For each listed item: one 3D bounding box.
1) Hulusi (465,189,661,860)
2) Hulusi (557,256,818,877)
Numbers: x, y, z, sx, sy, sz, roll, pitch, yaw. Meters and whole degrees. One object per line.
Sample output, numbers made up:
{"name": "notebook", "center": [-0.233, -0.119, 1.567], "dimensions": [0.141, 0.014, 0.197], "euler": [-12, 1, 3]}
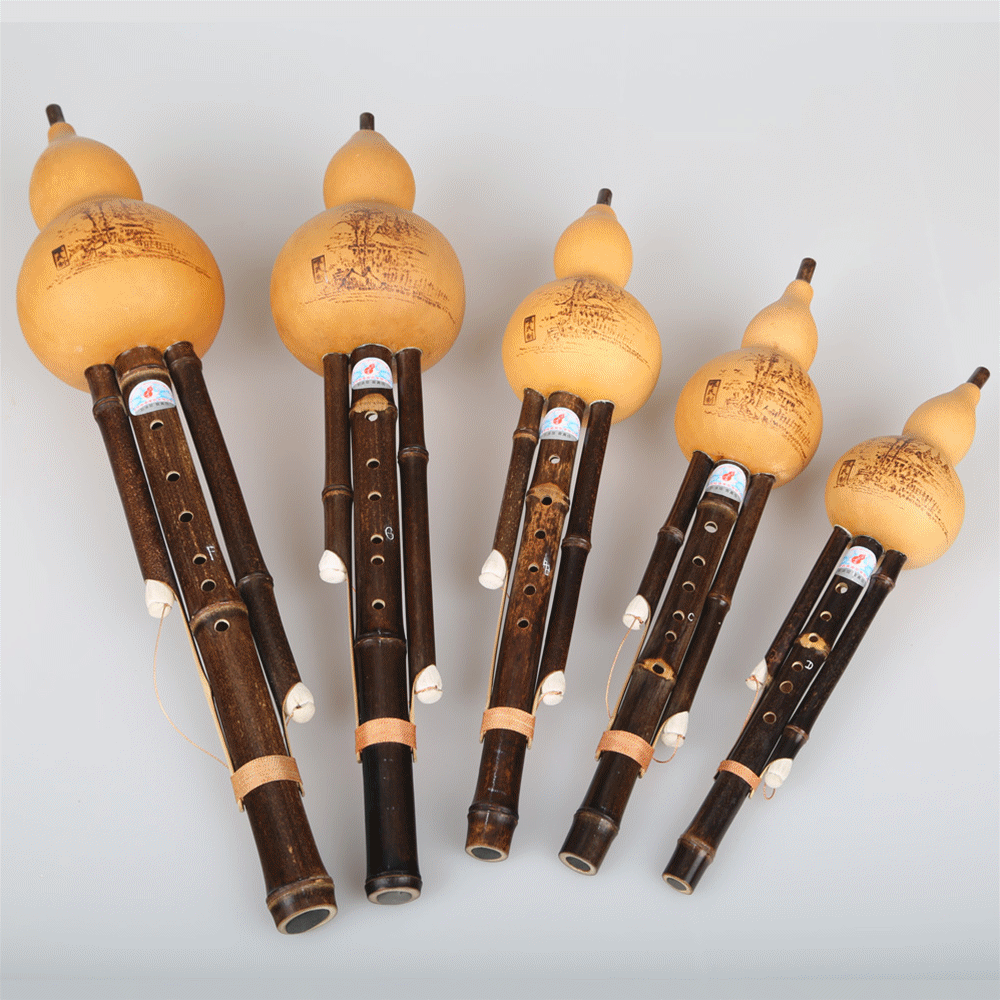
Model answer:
{"name": "Hulusi", "center": [0.107, -0.019, 2.557], "dimensions": [0.329, 1.303, 0.219], "euler": [11, -19, -21]}
{"name": "Hulusi", "center": [0.342, 0.106, 2.626], "dimensions": [0.310, 1.156, 0.305], "euler": [8, -26, 38]}
